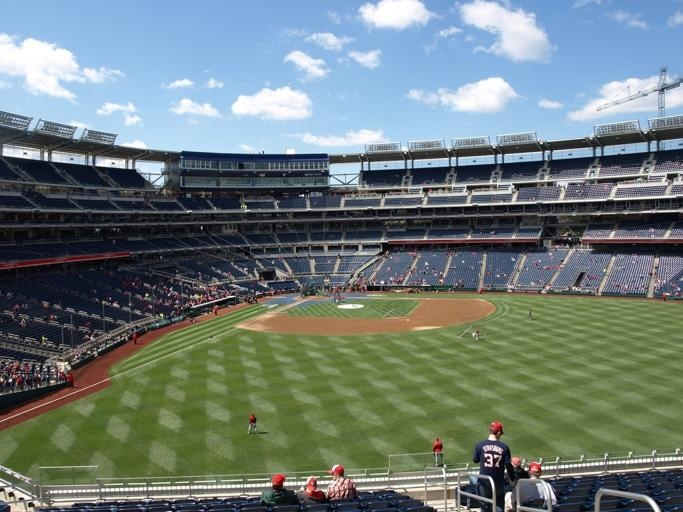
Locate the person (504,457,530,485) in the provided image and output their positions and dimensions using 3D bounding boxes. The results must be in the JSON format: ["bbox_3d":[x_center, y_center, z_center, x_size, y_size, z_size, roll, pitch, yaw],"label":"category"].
[{"bbox_3d":[8.071,9.776,27.817,1.541,0.776,1.751,2,-3,3],"label":"person"}]

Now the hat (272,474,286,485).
[{"bbox_3d":[-2.901,10.238,28.074,0.526,0.612,0.525,-4,9,4],"label":"hat"}]

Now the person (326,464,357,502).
[{"bbox_3d":[-0.118,10.764,28.790,1.343,1.813,0.686,-5,10,-3],"label":"person"}]

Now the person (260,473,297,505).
[{"bbox_3d":[-2.943,10.797,28.096,1.643,1.732,0.502,-5,10,-7],"label":"person"}]
